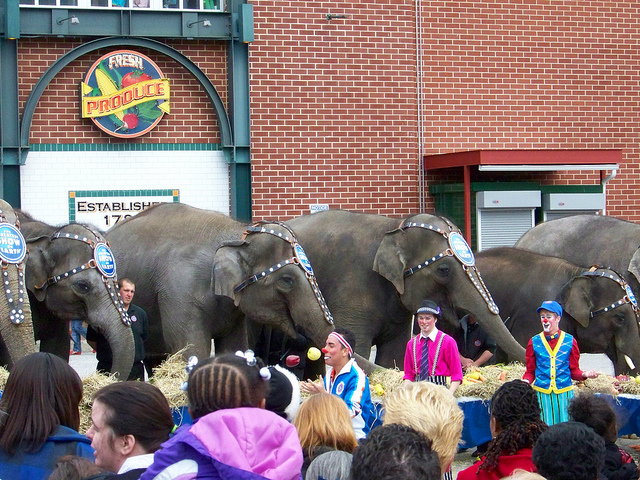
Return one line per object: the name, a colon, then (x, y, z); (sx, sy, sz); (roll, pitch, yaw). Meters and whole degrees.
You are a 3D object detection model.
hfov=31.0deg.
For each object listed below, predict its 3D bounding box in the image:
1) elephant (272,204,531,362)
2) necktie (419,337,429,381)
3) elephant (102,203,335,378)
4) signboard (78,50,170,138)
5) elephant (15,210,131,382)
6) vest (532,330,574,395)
elephant: (0.826, 0.763, 13.939); (4.092, 2.297, 1.396); (0, 6, 27)
necktie: (1.075, 1.221, 11.868); (0.077, 0.356, 0.089); (4, -1, -24)
elephant: (-1.321, 0.775, 13.304); (3.790, 2.279, 1.279); (-6, 2, 31)
signboard: (-3.393, -2.469, 19.566); (1.447, 1.398, 0.237); (2, -6, -20)
elephant: (-2.593, 0.540, 12.699); (2.238, 1.416, 1.196); (12, 13, 43)
vest: (2.478, 1.249, 12.120); (0.473, 0.691, 0.371); (4, 27, 33)
